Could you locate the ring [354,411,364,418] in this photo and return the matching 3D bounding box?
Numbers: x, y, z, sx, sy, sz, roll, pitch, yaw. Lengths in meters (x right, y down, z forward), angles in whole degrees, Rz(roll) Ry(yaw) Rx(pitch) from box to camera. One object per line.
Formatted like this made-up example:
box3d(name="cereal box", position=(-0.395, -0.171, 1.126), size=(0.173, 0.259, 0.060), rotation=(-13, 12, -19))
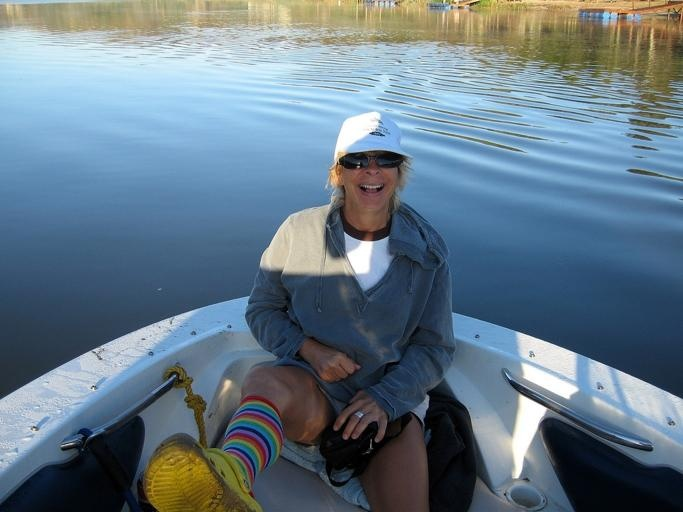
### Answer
box3d(name="ring", position=(0.073, 0.606, 1.981), size=(0.033, 0.013, 0.029), rotation=(14, 27, 30))
